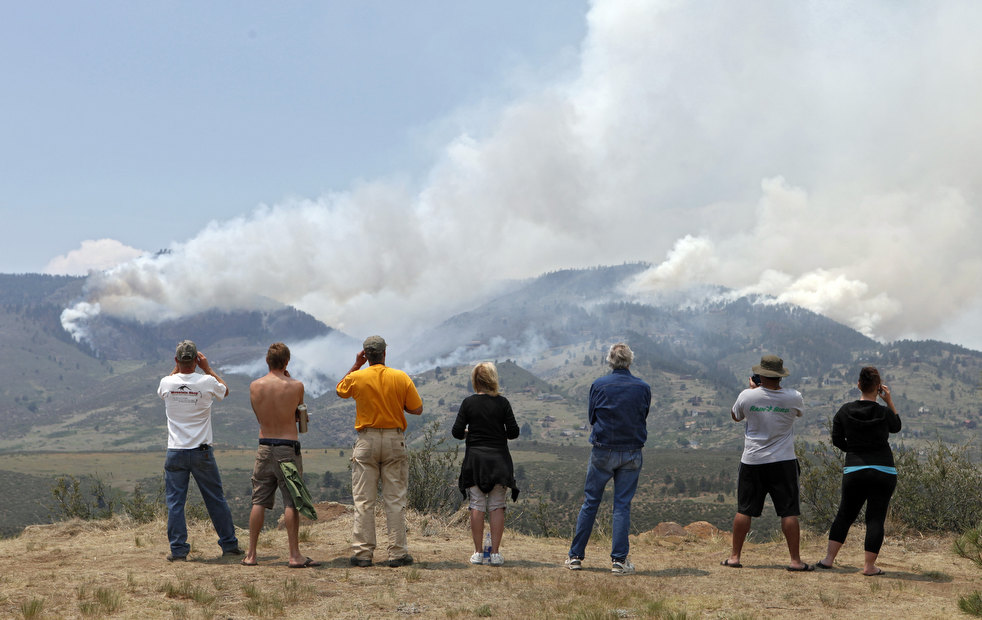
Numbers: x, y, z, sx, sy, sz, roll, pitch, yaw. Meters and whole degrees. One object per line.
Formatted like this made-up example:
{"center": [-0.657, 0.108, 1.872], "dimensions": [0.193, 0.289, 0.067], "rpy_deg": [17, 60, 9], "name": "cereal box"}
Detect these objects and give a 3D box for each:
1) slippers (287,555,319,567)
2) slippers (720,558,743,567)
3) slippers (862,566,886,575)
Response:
{"center": [-4.606, 6.196, 22.792], "dimensions": [0.734, 0.235, 0.312], "rpy_deg": [3, -7, -35], "name": "slippers"}
{"center": [6.130, 6.525, 23.854], "dimensions": [0.392, 0.156, 0.224], "rpy_deg": [11, 0, 45], "name": "slippers"}
{"center": [9.454, 6.464, 22.915], "dimensions": [0.562, 0.200, 0.145], "rpy_deg": [-3, -5, -13], "name": "slippers"}
